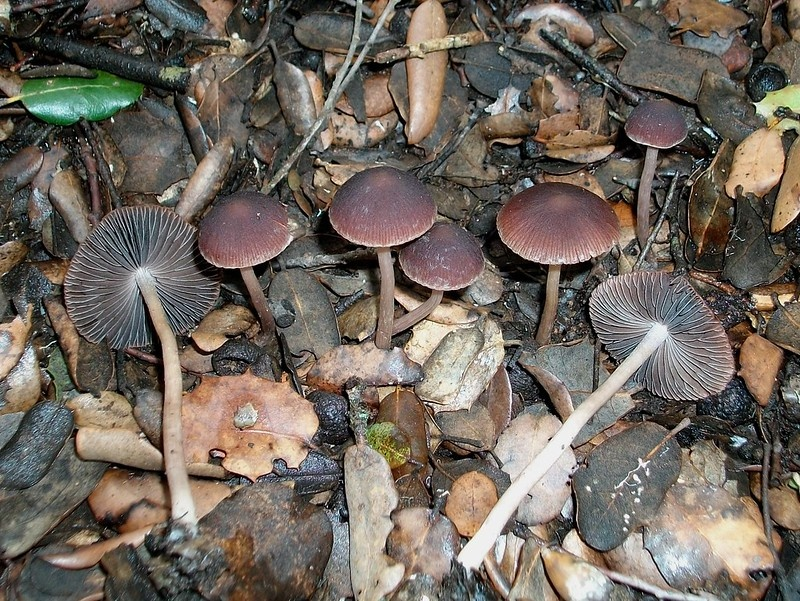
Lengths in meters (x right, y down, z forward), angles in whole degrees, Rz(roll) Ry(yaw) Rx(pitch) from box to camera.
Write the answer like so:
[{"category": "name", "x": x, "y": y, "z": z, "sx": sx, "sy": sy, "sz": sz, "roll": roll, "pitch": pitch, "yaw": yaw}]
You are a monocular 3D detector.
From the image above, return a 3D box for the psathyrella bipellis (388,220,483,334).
[{"category": "psathyrella bipellis", "x": 0.212, "y": -0.130, "z": 4.427, "sx": 0.392, "sy": 0.618, "sz": 0.366, "roll": 21, "pitch": 57, "yaw": 1}]
